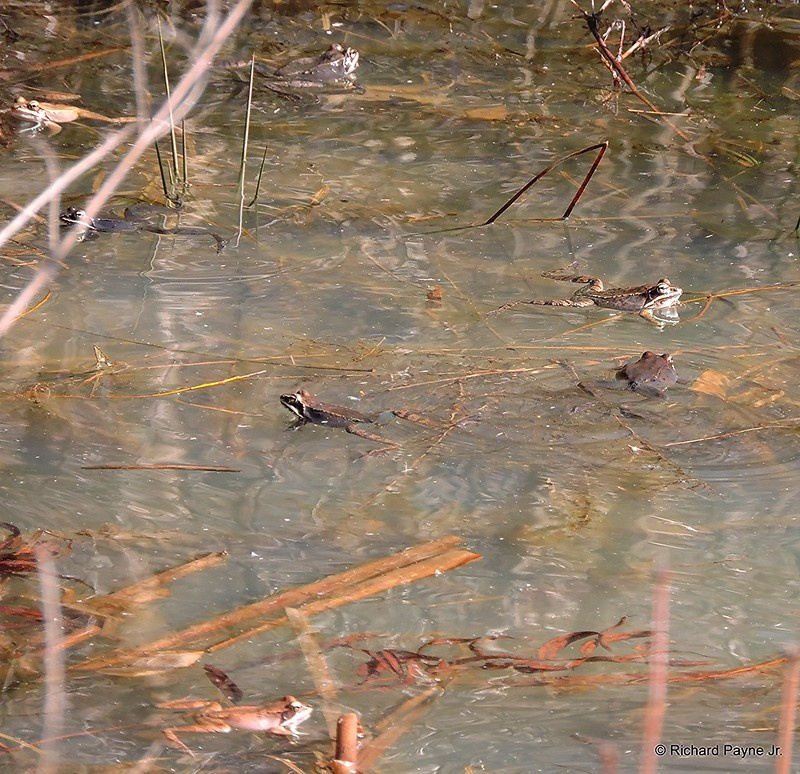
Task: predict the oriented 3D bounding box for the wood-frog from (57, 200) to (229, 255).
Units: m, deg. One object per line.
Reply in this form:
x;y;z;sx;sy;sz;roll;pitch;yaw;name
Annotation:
-1.462;-0.910;5.657;0.857;0.099;0.336;8;18;-9;wood-frog

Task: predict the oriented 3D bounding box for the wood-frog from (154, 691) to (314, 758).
-0.486;0.991;2.944;0.340;0.055;0.160;2;18;-3;wood-frog

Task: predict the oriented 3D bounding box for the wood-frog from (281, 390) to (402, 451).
-0.281;0.149;4.198;0.519;0.086;0.283;7;17;5;wood-frog

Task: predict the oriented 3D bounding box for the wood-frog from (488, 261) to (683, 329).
1.044;-0.476;5.183;0.717;0.126;0.410;10;29;15;wood-frog

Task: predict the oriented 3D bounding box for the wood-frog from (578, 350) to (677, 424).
1.027;0.019;4.472;0.399;0.111;0.462;31;44;33;wood-frog
